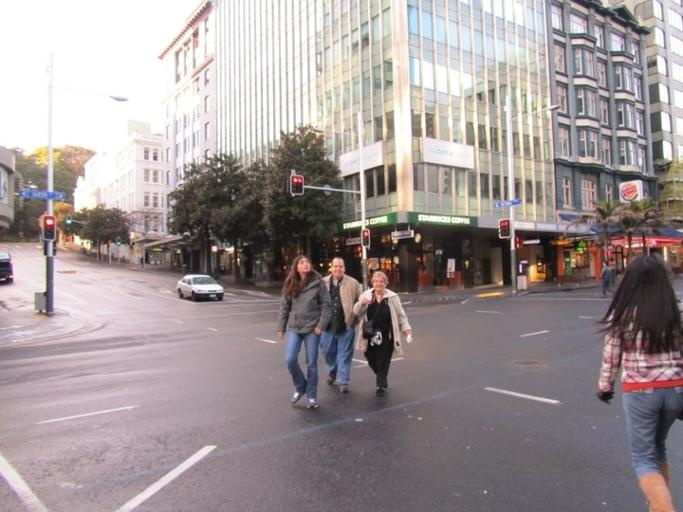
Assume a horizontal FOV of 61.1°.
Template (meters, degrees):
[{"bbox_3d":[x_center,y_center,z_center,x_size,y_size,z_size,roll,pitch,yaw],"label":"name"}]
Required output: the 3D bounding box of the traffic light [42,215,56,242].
[{"bbox_3d":[-11.121,-1.073,22.011,0.435,0.998,0.509,0,-1,-34],"label":"traffic light"}]

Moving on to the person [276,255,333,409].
[{"bbox_3d":[-0.601,1.191,9.307,0.838,2.403,0.556,0,-1,2],"label":"person"}]

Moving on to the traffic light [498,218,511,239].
[{"bbox_3d":[8.202,-1.401,28.988,0.534,0.906,0.615,-1,-1,27],"label":"traffic light"}]

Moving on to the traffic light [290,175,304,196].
[{"bbox_3d":[-1.818,-2.938,23.485,0.391,0.816,0.843,-1,-1,26],"label":"traffic light"}]

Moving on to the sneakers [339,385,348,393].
[{"bbox_3d":[0.036,2.260,9.900,0.134,0.117,0.209,0,-1,-5],"label":"sneakers"}]

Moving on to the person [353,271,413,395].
[{"bbox_3d":[0.663,1.272,9.672,0.936,2.026,0.571,-1,-1,5],"label":"person"}]

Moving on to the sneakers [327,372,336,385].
[{"bbox_3d":[-0.175,2.134,10.323,0.093,0.304,0.111,7,1,19],"label":"sneakers"}]

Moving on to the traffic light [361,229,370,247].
[{"bbox_3d":[1.109,-0.854,26.995,0.298,0.777,0.363,0,-1,-7],"label":"traffic light"}]

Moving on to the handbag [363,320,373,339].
[{"bbox_3d":[0.437,1.216,9.562,0.167,0.308,0.089,-1,-1,39],"label":"handbag"}]
